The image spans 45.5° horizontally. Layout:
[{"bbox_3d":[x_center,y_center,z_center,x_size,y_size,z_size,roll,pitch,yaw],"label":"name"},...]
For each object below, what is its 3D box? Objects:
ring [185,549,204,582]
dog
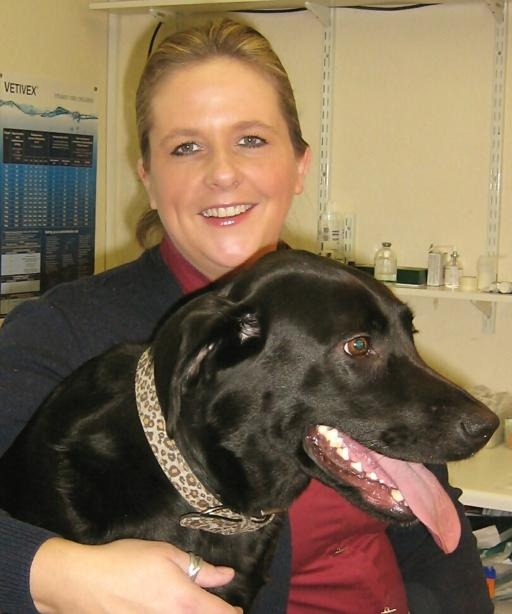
[{"bbox_3d":[-0.096,0.410,0.961,0.015,0.025,0.034,6,24,-4],"label":"ring"},{"bbox_3d":[-0.097,0.129,1.259,0.998,0.578,0.519,15,20,23],"label":"dog"}]
